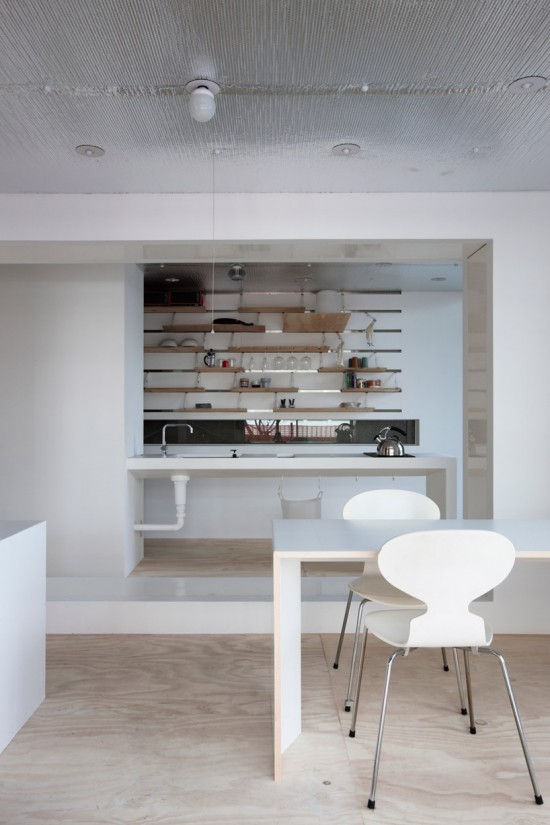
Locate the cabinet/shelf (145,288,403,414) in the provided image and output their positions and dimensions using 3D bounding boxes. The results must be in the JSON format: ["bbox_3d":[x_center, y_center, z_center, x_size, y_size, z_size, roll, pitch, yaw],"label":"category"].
[{"bbox_3d":[-0.031,-0.539,6.133,2.347,1.154,0.429,0,1,4],"label":"cabinet/shelf"}]

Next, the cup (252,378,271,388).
[{"bbox_3d":[-0.126,-0.269,6.143,0.160,0.111,0.082,0,1,10],"label":"cup"}]

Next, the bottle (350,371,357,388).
[{"bbox_3d":[0.711,-0.294,6.136,0.062,0.149,0.147,0,1,4],"label":"bottle"}]

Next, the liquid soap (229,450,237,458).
[{"bbox_3d":[-0.322,0.312,5.132,0.060,0.059,0.110,-2,-3,1],"label":"liquid soap"}]

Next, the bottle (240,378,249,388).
[{"bbox_3d":[-0.278,-0.271,6.111,0.081,0.084,0.079,2,-3,-13],"label":"bottle"}]
